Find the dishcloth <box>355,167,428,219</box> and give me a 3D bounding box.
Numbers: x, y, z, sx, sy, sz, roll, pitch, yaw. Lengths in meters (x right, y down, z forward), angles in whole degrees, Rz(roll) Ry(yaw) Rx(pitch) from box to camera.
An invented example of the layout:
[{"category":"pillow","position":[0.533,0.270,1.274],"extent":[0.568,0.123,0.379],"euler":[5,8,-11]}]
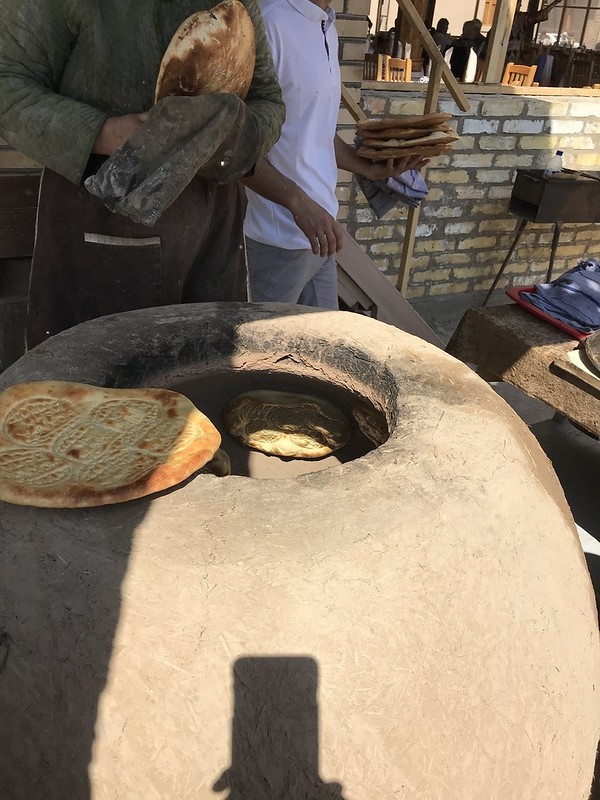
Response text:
[{"category":"dishcloth","position":[0.381,-0.846,2.664],"extent":[0.243,0.218,0.098],"euler":[-19,-1,2]}]
